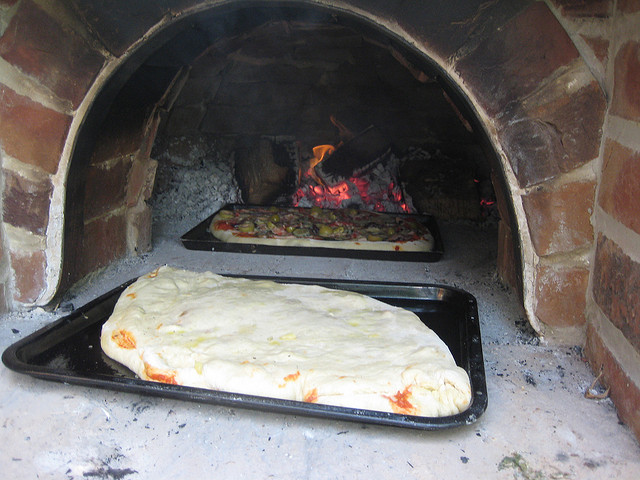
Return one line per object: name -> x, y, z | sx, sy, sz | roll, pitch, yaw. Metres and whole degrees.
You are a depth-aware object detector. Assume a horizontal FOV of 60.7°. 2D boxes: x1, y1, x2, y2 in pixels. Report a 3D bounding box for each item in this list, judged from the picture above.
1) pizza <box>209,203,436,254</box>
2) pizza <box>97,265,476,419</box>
pizza -> 0.039, -0.065, 2.747 | 0.704, 0.079, 0.447 | 2, 21, 2
pizza -> -0.162, 0.314, 1.698 | 0.900, 0.105, 0.486 | 9, 20, 17
